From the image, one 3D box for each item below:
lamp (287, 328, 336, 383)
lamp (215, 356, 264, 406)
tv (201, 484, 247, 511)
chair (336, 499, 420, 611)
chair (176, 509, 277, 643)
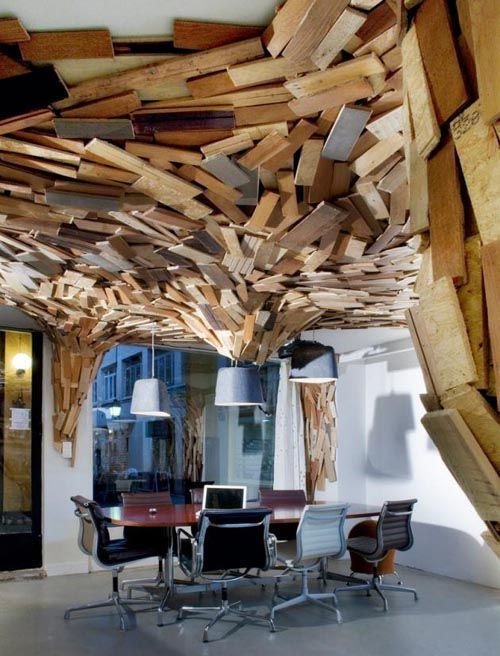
[{"bbox_3d":[0.566,0.310,5.126,0.416,0.276,0.395,0,-2,-3],"label":"lamp"},{"bbox_3d":[-0.097,0.519,4.964,0.436,0.293,0.415,0,-9,5],"label":"lamp"},{"bbox_3d":[-0.209,1.418,4.688,0.333,0.168,0.201,-2,-13,8],"label":"tv"},{"bbox_3d":[1.133,1.969,4.981,0.715,0.871,1.013,-2,-13,8],"label":"chair"},{"bbox_3d":[-0.198,1.831,4.388,0.727,0.891,1.381,1,-13,-5],"label":"chair"}]
